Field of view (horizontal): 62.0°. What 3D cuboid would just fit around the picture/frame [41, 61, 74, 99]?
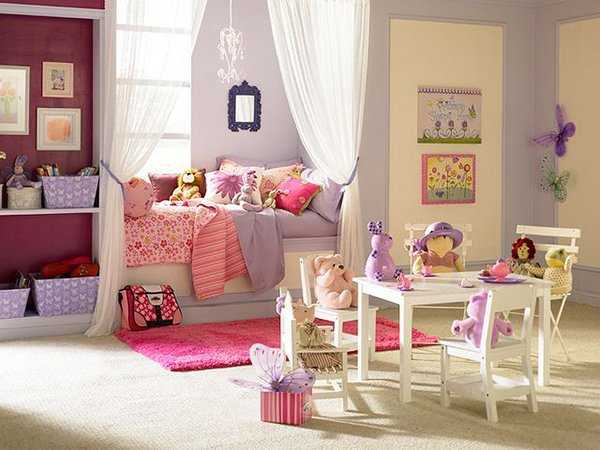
[{"bbox_3d":[-2.136,-1.294,4.362,0.306,0.402,0.014,-2,7,-18],"label":"picture/frame"}]

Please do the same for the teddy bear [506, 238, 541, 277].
[{"bbox_3d":[1.997,0.281,4.450,0.302,0.486,0.190,-1,-7,27],"label":"teddy bear"}]

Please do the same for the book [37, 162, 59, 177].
[{"bbox_3d":[-2.120,-0.474,4.226,0.156,0.131,0.058,-1,1,5],"label":"book"}]

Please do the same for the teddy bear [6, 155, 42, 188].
[{"bbox_3d":[-2.344,-0.448,4.167,0.285,0.364,0.249,5,5,42],"label":"teddy bear"}]

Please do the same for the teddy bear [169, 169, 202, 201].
[{"bbox_3d":[-1.210,-0.426,5.358,0.366,0.416,0.303,6,-3,-38],"label":"teddy bear"}]

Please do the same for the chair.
[{"bbox_3d":[0.894,0.528,3.129,1.475,1.023,0.935,1,5,2],"label":"chair"}]

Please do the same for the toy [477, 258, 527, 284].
[{"bbox_3d":[1.508,0.336,3.725,0.275,0.115,0.253,0,1,44],"label":"toy"}]

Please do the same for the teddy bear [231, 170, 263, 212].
[{"bbox_3d":[-0.468,-0.379,5.070,0.315,0.443,0.373,5,-6,-14],"label":"teddy bear"}]

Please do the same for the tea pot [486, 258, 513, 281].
[{"bbox_3d":[1.324,0.284,3.295,0.155,0.168,0.141,0,1,0],"label":"tea pot"}]

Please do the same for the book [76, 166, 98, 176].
[{"bbox_3d":[-1.813,-0.468,4.314,0.117,0.042,0.127,-15,19,-3],"label":"book"}]

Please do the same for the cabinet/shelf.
[{"bbox_3d":[-2.052,-0.483,4.217,0.842,2.766,0.411,-2,5,-22],"label":"cabinet/shelf"}]

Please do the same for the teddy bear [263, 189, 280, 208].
[{"bbox_3d":[-0.305,-0.290,5.122,0.081,0.216,0.134,-12,-25,35],"label":"teddy bear"}]

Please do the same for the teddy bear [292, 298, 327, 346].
[{"bbox_3d":[0.045,0.584,3.001,0.177,0.262,0.215,-7,7,-15],"label":"teddy bear"}]

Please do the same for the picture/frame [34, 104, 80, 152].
[{"bbox_3d":[-2.149,-0.867,4.373,0.398,0.451,0.033,0,0,-21],"label":"picture/frame"}]

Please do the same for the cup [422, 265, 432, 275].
[{"bbox_3d":[0.878,0.304,3.447,0.063,0.067,0.066,1,-4,0],"label":"cup"}]

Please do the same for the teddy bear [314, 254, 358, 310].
[{"bbox_3d":[0.264,0.393,3.621,0.299,0.415,0.327,-4,-3,-34],"label":"teddy bear"}]

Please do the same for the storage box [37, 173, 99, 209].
[{"bbox_3d":[-1.941,-0.288,4.198,0.379,0.227,0.270,-1,0,-22],"label":"storage box"}]

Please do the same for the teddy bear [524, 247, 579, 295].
[{"bbox_3d":[2.011,0.352,4.008,0.265,0.437,0.449,20,-18,-29],"label":"teddy bear"}]
